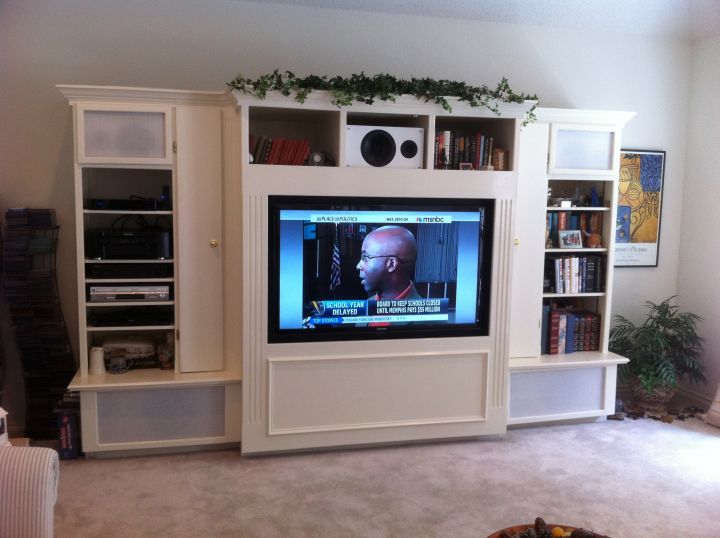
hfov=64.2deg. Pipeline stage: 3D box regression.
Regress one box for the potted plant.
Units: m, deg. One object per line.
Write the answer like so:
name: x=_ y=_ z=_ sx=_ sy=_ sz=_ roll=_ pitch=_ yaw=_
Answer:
potted plant: x=2.815 y=0.763 z=5.614 sx=0.813 sy=1.071 sz=0.926 roll=6 pitch=1 yaw=9

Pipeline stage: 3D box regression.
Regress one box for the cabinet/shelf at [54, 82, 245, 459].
cabinet/shelf: x=-1.632 y=0.018 z=4.589 sx=1.234 sy=2.711 sz=0.728 roll=-1 pitch=5 yaw=-15

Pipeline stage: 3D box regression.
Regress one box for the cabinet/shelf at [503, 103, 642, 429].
cabinet/shelf: x=1.779 y=-0.024 z=5.061 sx=1.132 sy=2.659 sz=0.774 roll=-2 pitch=14 yaw=-13

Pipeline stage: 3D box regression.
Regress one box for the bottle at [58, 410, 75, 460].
bottle: x=-2.227 y=1.254 z=4.363 sx=0.121 sy=0.351 sz=0.114 roll=1 pitch=13 yaw=0

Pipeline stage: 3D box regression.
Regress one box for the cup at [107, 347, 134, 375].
cup: x=-1.922 y=0.728 z=4.576 sx=0.198 sy=0.186 sz=0.161 roll=0 pitch=1 yaw=-24
